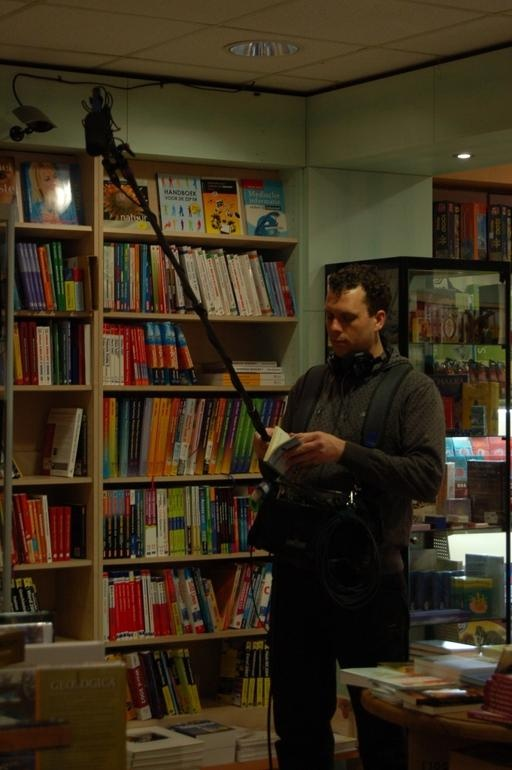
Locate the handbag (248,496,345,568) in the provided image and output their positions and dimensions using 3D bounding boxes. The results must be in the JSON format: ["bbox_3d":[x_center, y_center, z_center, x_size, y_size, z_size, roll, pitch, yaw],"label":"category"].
[{"bbox_3d":[0.106,0.403,1.898,0.212,0.163,0.078,9,-16,15],"label":"handbag"}]

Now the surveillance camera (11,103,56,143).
[{"bbox_3d":[-1.060,-1.271,3.200,0.218,0.180,0.278,-2,0,-16],"label":"surveillance camera"}]
